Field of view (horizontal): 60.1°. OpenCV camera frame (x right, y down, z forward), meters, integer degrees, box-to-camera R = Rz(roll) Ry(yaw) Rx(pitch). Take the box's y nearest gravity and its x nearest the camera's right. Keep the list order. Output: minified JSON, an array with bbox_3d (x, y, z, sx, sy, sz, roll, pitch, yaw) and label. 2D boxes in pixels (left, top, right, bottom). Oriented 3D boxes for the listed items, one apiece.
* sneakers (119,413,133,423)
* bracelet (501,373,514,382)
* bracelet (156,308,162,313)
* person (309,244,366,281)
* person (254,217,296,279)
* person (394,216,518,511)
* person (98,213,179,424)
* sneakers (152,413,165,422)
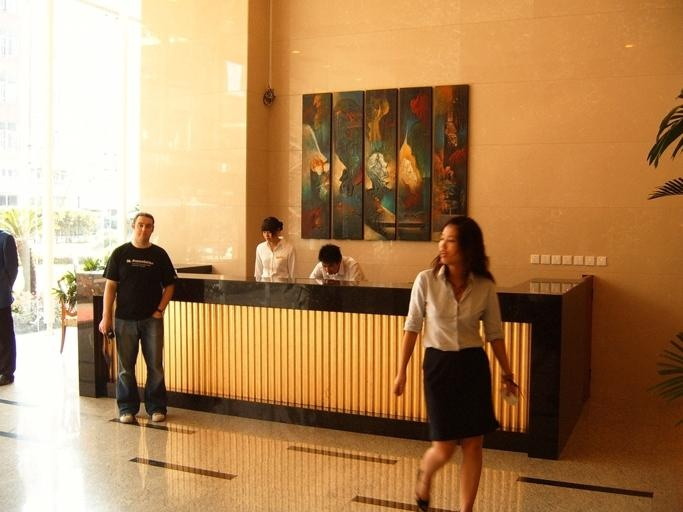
[{"bbox_3d":[-2.224,1.675,6.101,0.157,0.061,0.147,-1,6,-14],"label":"sneakers"},{"bbox_3d":[1.191,0.871,4.251,0.037,0.046,0.113,1,-4,-7],"label":"bracelet"},{"bbox_3d":[-1.901,0.568,6.168,0.046,0.049,0.048,0,9,-12],"label":"bracelet"},{"bbox_3d":[-0.047,0.070,6.303,0.547,0.411,0.803,0,6,-1],"label":"person"},{"bbox_3d":[-0.827,-0.117,7.455,0.468,0.749,0.586,-1,6,-16],"label":"person"},{"bbox_3d":[0.781,0.776,4.128,0.798,2.090,0.430,1,6,12],"label":"person"},{"bbox_3d":[-2.125,0.626,6.168,0.756,2.145,0.447,-1,6,-11],"label":"person"},{"bbox_3d":[-1.909,1.670,6.142,0.141,0.077,0.122,-1,6,-17],"label":"sneakers"}]
